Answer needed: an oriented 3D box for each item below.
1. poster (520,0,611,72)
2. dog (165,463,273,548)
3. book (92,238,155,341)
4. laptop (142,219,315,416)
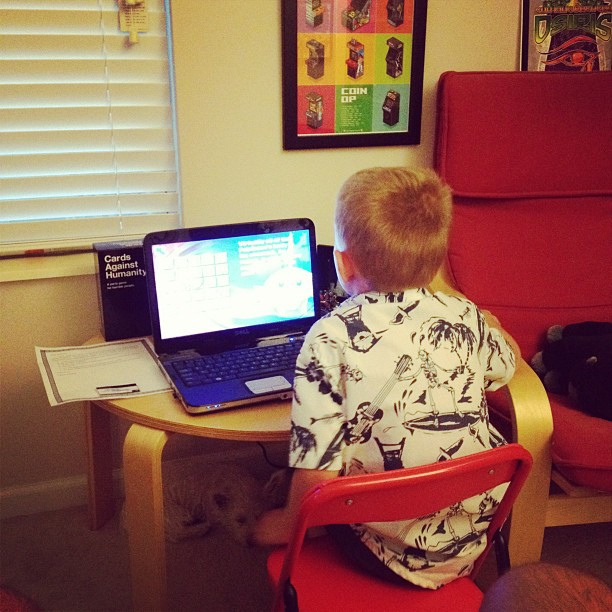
[{"bbox_3d":[0.767,-0.816,1.807,0.225,0.206,0.025,-3,16,-7],"label":"poster"},{"bbox_3d":[-0.207,0.554,1.674,0.319,0.201,0.138,15,4,-22],"label":"dog"},{"bbox_3d":[-0.410,-0.035,1.374,0.071,0.235,0.196,-6,10,-8],"label":"book"},{"bbox_3d":[-0.160,-0.007,1.307,0.407,0.372,0.308,-5,29,-19],"label":"laptop"}]
